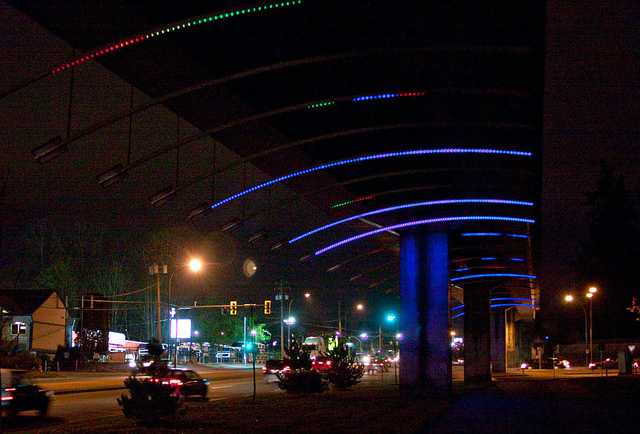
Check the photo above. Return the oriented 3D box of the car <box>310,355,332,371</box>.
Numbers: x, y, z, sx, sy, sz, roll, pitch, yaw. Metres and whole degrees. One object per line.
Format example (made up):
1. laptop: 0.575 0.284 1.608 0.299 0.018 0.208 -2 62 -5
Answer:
1. car: -0.065 10.491 61.018 1.693 0.749 2.558 0 -7 2

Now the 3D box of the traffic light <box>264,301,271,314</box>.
1. traffic light: -4.395 7.152 66.432 0.429 0.870 1.170 1 -13 -8

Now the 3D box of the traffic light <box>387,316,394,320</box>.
1. traffic light: 5.442 7.959 65.891 0.223 0.311 0.882 -8 -15 29

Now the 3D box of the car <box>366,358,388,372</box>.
1. car: 5.537 15.213 85.561 2.040 1.361 4.446 0 -5 10

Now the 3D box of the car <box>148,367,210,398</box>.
1. car: -7.754 9.464 46.597 2.029 1.349 4.310 -1 -7 13
